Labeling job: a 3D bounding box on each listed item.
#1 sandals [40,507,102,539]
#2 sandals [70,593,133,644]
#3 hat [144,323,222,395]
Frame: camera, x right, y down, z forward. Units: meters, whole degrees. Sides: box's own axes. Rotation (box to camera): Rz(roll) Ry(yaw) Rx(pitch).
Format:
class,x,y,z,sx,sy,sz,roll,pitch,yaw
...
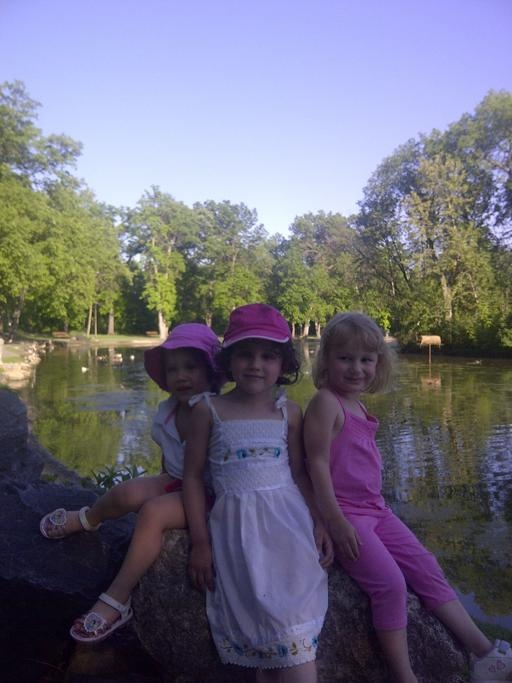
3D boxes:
class,x,y,z,sx,sy,sz,roll,pitch,yaw
sandals,-0.635,0.633,1.809,0.195,0.101,0.069,0,-46,-7
sandals,-0.431,0.782,1.511,0.090,0.095,0.207,7,-5,30
hat,-0.285,0.026,2.152,0.291,0.188,0.305,12,-23,15
